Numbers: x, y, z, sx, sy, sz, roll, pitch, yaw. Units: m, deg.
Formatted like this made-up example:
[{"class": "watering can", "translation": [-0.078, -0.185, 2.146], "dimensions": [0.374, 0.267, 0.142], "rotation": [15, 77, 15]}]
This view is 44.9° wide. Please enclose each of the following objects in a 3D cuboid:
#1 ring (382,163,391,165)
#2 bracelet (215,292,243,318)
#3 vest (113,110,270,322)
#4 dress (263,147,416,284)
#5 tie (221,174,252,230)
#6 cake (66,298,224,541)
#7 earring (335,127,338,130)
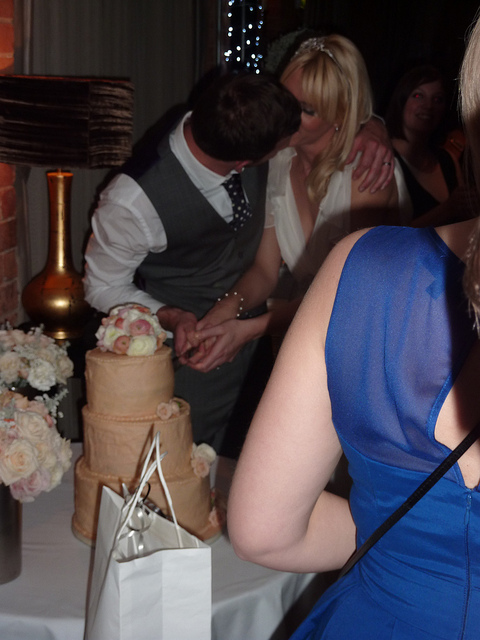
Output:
[{"class": "ring", "translation": [0.470, -0.497, 1.853], "dimensions": [0.023, 0.006, 0.005], "rotation": [1, 20, -17]}, {"class": "bracelet", "translation": [-0.040, -0.045, 2.141], "dimensions": [0.081, 0.103, 0.039], "rotation": [8, -22, 8]}, {"class": "vest", "translation": [-0.234, -0.475, 2.284], "dimensions": [0.599, 0.751, 0.482], "rotation": [-13, 30, -27]}, {"class": "dress", "translation": [0.297, -0.365, 2.155], "dimensions": [0.432, 0.575, 0.483], "rotation": [0, 23, -4]}, {"class": "tie", "translation": [-0.012, -0.438, 2.183], "dimensions": [0.121, 0.198, 0.061], "rotation": [-29, 28, -5]}, {"class": "cake", "translation": [-0.260, 0.280, 1.441], "dimensions": [0.404, 0.497, 0.397], "rotation": [-15, -14, 26]}, {"class": "earring", "translation": [0.324, -0.640, 1.944], "dimensions": [0.011, 0.006, 0.003], "rotation": [23, 24, 38]}]
